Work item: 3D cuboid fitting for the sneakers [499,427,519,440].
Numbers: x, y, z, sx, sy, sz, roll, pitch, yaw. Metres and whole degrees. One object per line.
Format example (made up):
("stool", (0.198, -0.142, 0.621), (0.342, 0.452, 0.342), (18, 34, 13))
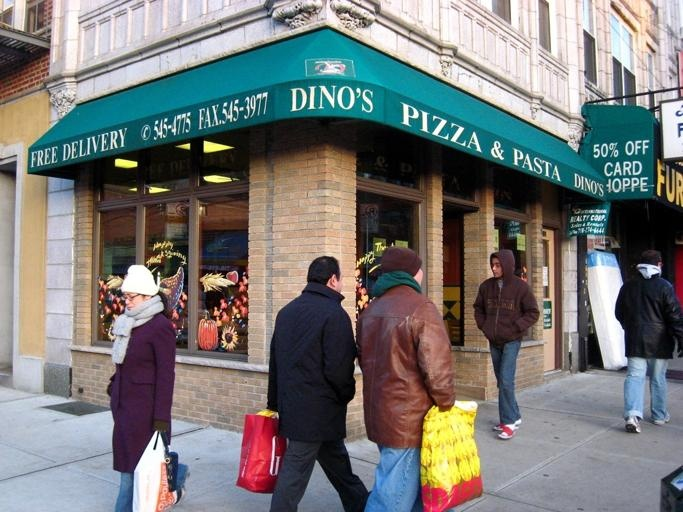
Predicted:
("sneakers", (2.246, 2.364, 8.968), (0.307, 0.169, 0.171), (1, -4, -22))

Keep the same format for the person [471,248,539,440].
("person", (2.255, 1.190, 9.112), (0.843, 2.528, 0.390), (-2, -4, 14))

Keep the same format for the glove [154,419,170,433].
("glove", (-1.678, 1.586, 6.262), (0.110, 0.105, 0.124), (3, -6, 44))

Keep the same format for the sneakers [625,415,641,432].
("sneakers", (4.022, 2.341, 9.225), (0.146, 0.170, 0.335), (-5, -18, 27))

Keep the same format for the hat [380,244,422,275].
("hat", (0.529, 0.014, 6.243), (0.291, 0.297, 0.277), (-23, 16, -29))

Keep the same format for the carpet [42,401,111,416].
("carpet", (-4.145, 2.378, 10.435), (1.034, 0.080, 0.643), (-3, -4, 34))

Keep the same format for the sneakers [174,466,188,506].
("sneakers", (-1.572, 2.317, 6.742), (0.101, 0.308, 0.300), (13, -17, -3))

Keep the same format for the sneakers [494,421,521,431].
("sneakers", (2.297, 2.347, 9.229), (0.173, 0.135, 0.450), (-7, -13, 28))

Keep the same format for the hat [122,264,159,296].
("hat", (-1.948, 0.244, 6.602), (0.365, 0.315, 0.277), (14, -9, -23))
